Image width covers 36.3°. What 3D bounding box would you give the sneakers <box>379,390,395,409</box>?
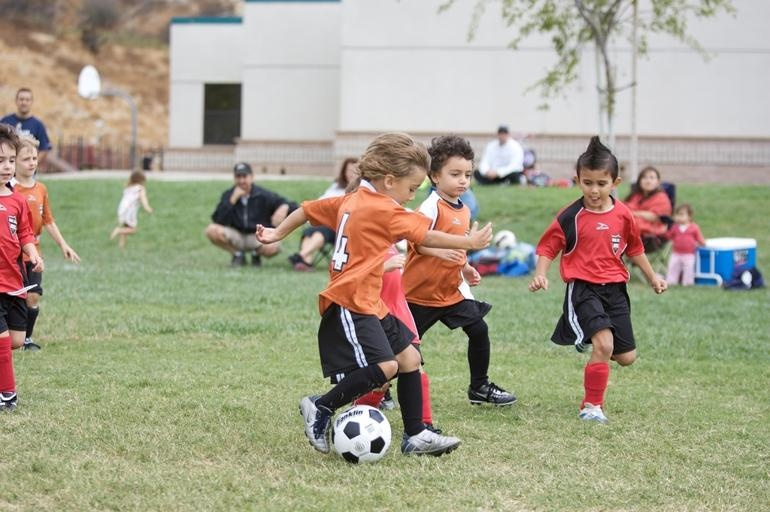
[{"bbox_3d":[0.017,1.165,9.465,0.080,0.177,0.244,0,-9,6],"label":"sneakers"}]

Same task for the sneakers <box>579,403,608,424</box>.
[{"bbox_3d":[1.654,1.234,9.310,0.232,0.140,0.205,1,3,-9],"label":"sneakers"}]

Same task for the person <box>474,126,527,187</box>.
[{"bbox_3d":[1.856,-1.513,18.873,0.877,1.055,0.681,6,28,13],"label":"person"}]

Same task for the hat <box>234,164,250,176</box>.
[{"bbox_3d":[-1.329,-0.812,10.986,0.136,0.104,0.225,-2,-5,0],"label":"hat"}]

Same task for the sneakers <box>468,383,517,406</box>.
[{"bbox_3d":[0.877,1.124,9.593,0.388,0.186,0.158,0,2,0],"label":"sneakers"}]

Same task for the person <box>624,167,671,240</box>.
[{"bbox_3d":[3.019,-0.620,13.322,0.718,0.762,0.814,4,8,40],"label":"person"}]

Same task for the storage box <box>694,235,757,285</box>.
[{"bbox_3d":[3.925,0.125,13.740,0.432,0.488,0.777,1,-2,38],"label":"storage box"}]

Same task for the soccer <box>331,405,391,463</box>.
[{"bbox_3d":[-0.197,1.348,8.837,0.400,0.455,0.433,-2,12,-24],"label":"soccer"}]

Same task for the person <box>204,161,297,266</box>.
[{"bbox_3d":[-1.550,-0.395,12.954,1.199,1.483,0.792,1,9,2],"label":"person"}]

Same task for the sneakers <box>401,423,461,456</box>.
[{"bbox_3d":[0.328,1.391,8.860,0.481,0.247,0.176,-2,-2,1],"label":"sneakers"}]

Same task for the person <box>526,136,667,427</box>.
[{"bbox_3d":[1.679,0.168,9.433,0.909,2.237,0.466,1,3,6],"label":"person"}]

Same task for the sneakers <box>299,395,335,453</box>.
[{"bbox_3d":[-0.451,1.306,8.745,0.224,0.486,0.167,-18,-4,31],"label":"sneakers"}]
